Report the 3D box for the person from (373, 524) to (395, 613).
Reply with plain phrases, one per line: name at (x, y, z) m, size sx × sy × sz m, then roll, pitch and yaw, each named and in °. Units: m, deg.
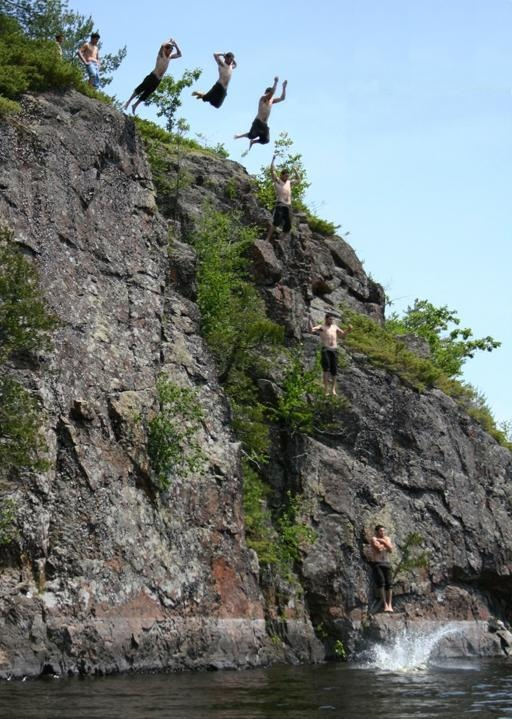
person at (2.748, 4.516, 29.606) m, size 0.421 × 1.895 × 1.234 m, roll -2°, pitch -14°, yaw 5°
